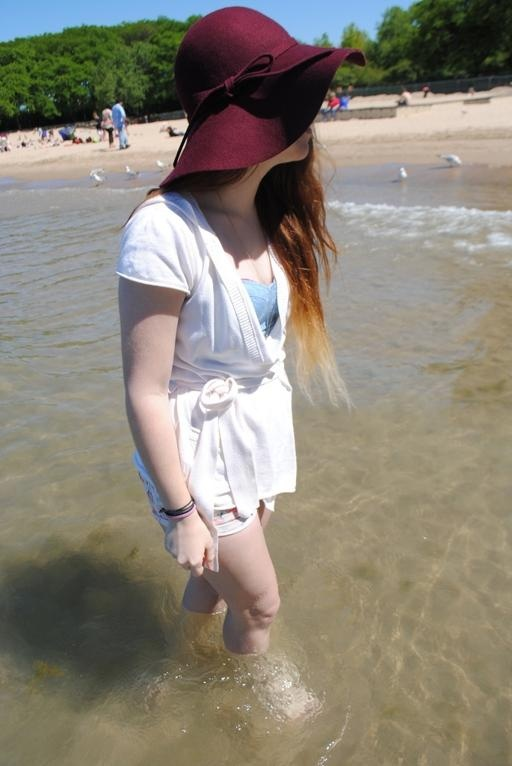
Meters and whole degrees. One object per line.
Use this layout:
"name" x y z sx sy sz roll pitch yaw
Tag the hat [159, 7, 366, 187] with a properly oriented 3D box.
"hat" -0.002 -0.652 1.431 0.467 0.366 0.258 -7 18 -8
